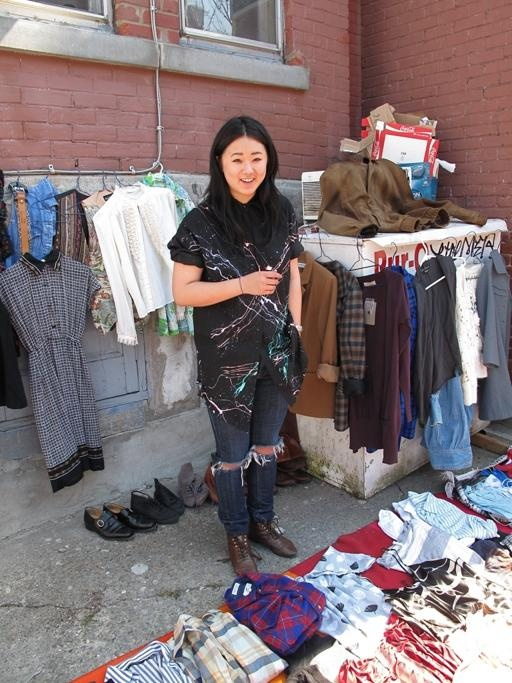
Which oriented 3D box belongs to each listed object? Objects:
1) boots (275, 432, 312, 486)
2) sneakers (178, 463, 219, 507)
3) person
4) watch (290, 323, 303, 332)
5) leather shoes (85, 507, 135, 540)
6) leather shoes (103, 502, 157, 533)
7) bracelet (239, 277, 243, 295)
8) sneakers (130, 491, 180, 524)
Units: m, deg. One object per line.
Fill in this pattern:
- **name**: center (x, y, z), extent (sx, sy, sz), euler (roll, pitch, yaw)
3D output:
- **boots**: center (0.230, 0.806, 3.350), extent (0.178, 0.215, 0.519), euler (3, -23, -11)
- **sneakers**: center (-0.392, 0.870, 3.146), extent (0.206, 0.149, 0.387), euler (3, 1, -28)
- **person**: center (-0.033, 0.114, 2.216), extent (0.447, 2.013, 0.654), euler (-2, 9, 13)
- **watch**: center (0.180, -0.070, 2.292), extent (0.052, 0.023, 0.040), euler (21, -6, -13)
- **leather shoes**: center (-0.805, 1.000, 2.753), extent (0.320, 0.117, 0.118), euler (9, 15, 28)
- **leather shoes**: center (-0.738, 0.990, 2.878), extent (0.337, 0.084, 0.122), euler (14, 11, 20)
- **bracelet**: center (-0.057, -0.207, 1.866), extent (0.014, 0.056, 0.031), euler (-5, 9, -4)
- **sneakers**: center (-0.595, 0.947, 2.934), extent (0.300, 0.111, 0.134), euler (15, 14, 15)
